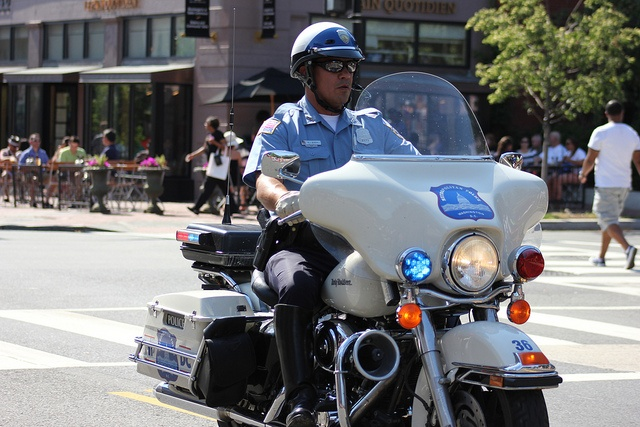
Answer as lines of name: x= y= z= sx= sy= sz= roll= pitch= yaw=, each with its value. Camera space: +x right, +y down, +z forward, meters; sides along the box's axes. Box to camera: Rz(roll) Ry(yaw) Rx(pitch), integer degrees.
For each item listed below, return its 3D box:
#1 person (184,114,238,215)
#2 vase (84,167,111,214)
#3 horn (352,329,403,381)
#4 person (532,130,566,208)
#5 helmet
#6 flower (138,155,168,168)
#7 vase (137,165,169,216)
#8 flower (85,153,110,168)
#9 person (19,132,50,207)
person: x=-2.779 y=-1.213 z=26.499 sx=1.555 sy=2.480 sz=1.206 roll=1 pitch=-2 yaw=12
vase: x=-5.533 y=-0.603 z=26.850 sx=0.586 sy=1.176 sz=0.827 roll=-1 pitch=11 yaw=-13
horn: x=0.579 y=1.449 z=11.120 sx=0.478 sy=0.518 sz=0.193 roll=1 pitch=11 yaw=1
person: x=6.169 y=-1.379 z=29.272 sx=1.016 sy=2.438 sz=0.936 roll=8 pitch=4 yaw=35
helmet: x=0.071 y=-1.817 z=11.965 sx=0.657 sy=0.376 sz=0.508 roll=0 pitch=0 yaw=35
flower: x=-4.406 y=-1.314 z=27.995 sx=0.622 sy=0.318 sz=0.637 roll=-1 pitch=1 yaw=40
vase: x=-4.255 y=-0.583 z=27.613 sx=0.654 sy=1.141 sz=0.651 roll=0 pitch=0 yaw=26
flower: x=-5.521 y=-1.254 z=26.692 sx=0.434 sy=0.232 sz=0.420 roll=1 pitch=-2 yaw=-31
person: x=-7.506 y=-1.022 z=28.755 sx=0.743 sy=1.947 sz=0.666 roll=-9 pitch=7 yaw=-29
